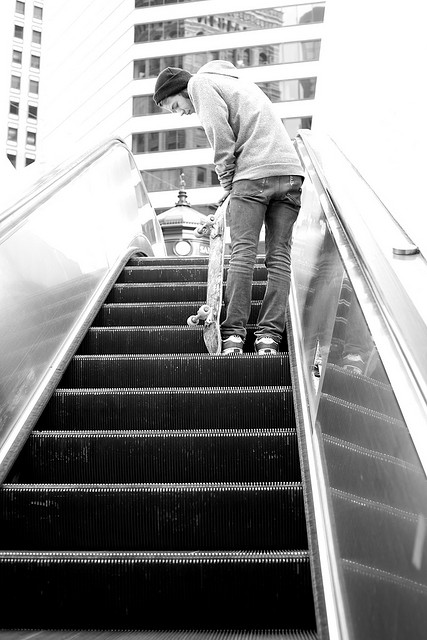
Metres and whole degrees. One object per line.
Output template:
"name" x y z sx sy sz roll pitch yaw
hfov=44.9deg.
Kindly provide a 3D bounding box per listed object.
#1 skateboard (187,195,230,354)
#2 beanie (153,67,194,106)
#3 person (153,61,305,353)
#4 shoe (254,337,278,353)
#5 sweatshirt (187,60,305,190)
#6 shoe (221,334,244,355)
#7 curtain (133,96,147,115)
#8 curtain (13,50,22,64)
"skateboard" 0.014 -0.245 2.684 0.119 0.928 0.192 27 -36 -29
"beanie" -0.217 -1.256 2.823 0.158 0.231 0.162 28 13 -4
"person" 0.210 -0.621 2.595 0.527 1.342 0.864 -3 16 -25
"shoe" 0.243 0.120 2.386 0.109 0.080 0.125 7 16 8
"sweatshirt" 0.132 -0.987 2.845 0.418 0.913 0.582 -23 -16 21
"shoe" 0.089 0.116 2.363 0.053 0.074 0.111 2 -27 -3
"curtain" -3.762 -11.034 26.451 0.660 0.983 0.839 -2 0 -6
"curtain" -16.171 -21.560 42.372 0.761 1.514 0.460 8 -32 -22
